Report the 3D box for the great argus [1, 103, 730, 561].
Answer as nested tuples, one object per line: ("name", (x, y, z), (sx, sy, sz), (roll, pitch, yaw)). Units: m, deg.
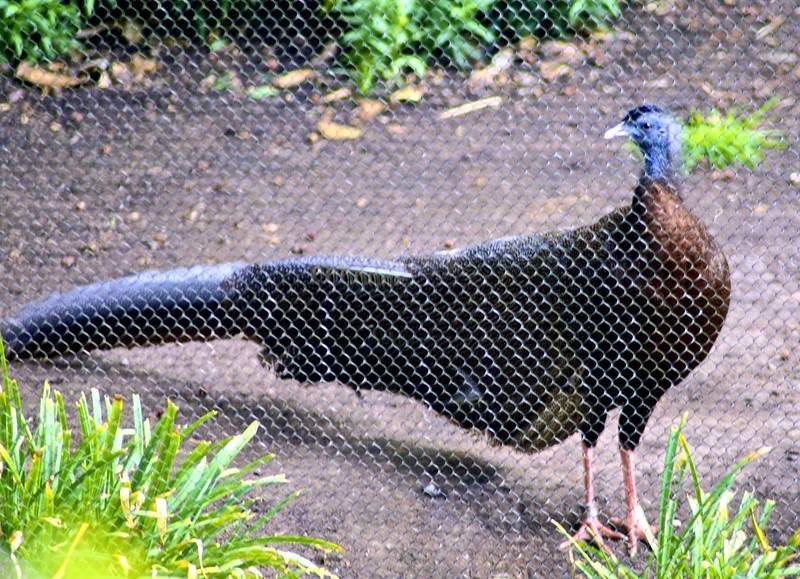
("great argus", (-0.132, 0.682, 7.316), (4.189, 0.753, 2.428), (-17, 82, 1))
